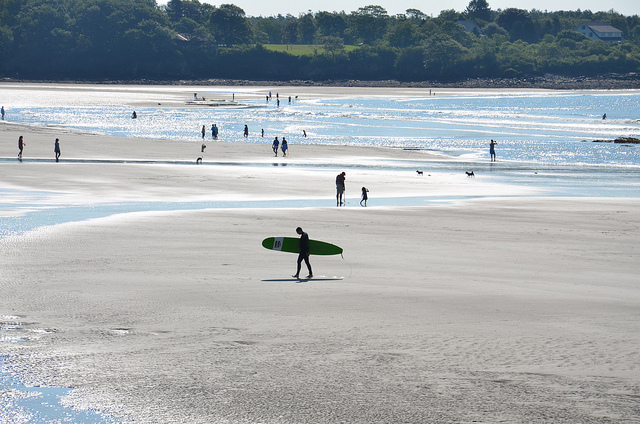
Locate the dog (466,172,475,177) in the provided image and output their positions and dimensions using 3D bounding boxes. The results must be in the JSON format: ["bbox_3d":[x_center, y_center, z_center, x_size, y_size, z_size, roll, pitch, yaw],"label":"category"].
[{"bbox_3d":[13.472,-3.313,107.616,0.510,0.368,1.076,5,6,36],"label":"dog"}]
